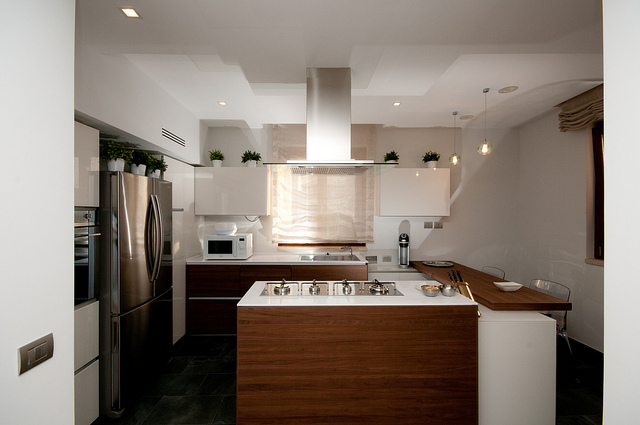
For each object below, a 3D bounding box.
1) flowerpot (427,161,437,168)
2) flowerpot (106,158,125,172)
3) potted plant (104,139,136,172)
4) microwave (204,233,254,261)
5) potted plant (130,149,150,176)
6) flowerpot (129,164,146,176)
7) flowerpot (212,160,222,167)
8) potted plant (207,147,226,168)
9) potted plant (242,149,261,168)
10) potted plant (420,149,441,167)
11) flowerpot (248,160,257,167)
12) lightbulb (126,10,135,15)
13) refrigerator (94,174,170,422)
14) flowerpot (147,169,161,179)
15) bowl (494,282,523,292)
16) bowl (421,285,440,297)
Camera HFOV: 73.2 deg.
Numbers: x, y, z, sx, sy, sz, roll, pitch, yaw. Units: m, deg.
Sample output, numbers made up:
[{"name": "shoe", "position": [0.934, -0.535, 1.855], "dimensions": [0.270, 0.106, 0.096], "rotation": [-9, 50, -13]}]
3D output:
[{"name": "flowerpot", "position": [1.521, -0.656, 5.825], "dimensions": [0.090, 0.062, 0.087], "rotation": [1, 0, -8]}, {"name": "flowerpot", "position": [-1.887, -0.444, 4.001], "dimensions": [0.132, 0.091, 0.115], "rotation": [-1, -3, 17]}, {"name": "potted plant", "position": [-1.938, -0.535, 4.089], "dimensions": [0.274, 0.278, 0.209], "rotation": [0, 6, 37]}, {"name": "microwave", "position": [-1.154, 0.430, 5.442], "dimensions": [0.480, 0.283, 0.338], "rotation": [0, -8, -4]}, {"name": "potted plant", "position": [-1.817, -0.500, 4.426], "dimensions": [0.232, 0.293, 0.263], "rotation": [1, 0, -6]}, {"name": "flowerpot", "position": [-1.842, -0.437, 4.378], "dimensions": [0.133, 0.094, 0.113], "rotation": [-1, 1, -3]}, {"name": "flowerpot", "position": [-1.362, -0.663, 5.750], "dimensions": [0.092, 0.069, 0.081], "rotation": [-2, 0, 5]}, {"name": "potted plant", "position": [-1.429, -0.736, 5.846], "dimensions": [0.287, 0.286, 0.296], "rotation": [-1, 3, 13]}, {"name": "potted plant", "position": [-0.904, -0.730, 5.816], "dimensions": [0.230, 0.194, 0.231], "rotation": [-2, -1, 21]}, {"name": "potted plant", "position": [1.564, -0.730, 5.950], "dimensions": [0.273, 0.244, 0.253], "rotation": [1, -1, -16]}, {"name": "flowerpot", "position": [-0.889, -0.653, 5.713], "dimensions": [0.119, 0.095, 0.112], "rotation": [-1, 3, -12]}, {"name": "lightbulb", "position": [-1.523, -1.618, 3.473], "dimensions": [0.063, 0.019, 0.044], "rotation": [-1, 3, -4]}, {"name": "refrigerator", "position": [-1.699, 0.730, 4.091], "dimensions": [0.361, 2.169, 0.759], "rotation": [0, 2, 16]}, {"name": "flowerpot", "position": [-1.775, -0.414, 4.620], "dimensions": [0.085, 0.104, 0.156], "rotation": [0, -1, 35]}, {"name": "bowl", "position": [1.874, 0.739, 4.298], "dimensions": [0.239, 0.079, 0.143], "rotation": [0, 3, 18]}, {"name": "bowl", "position": [0.981, 0.700, 3.853], "dimensions": [0.160, 0.077, 0.151], "rotation": [-1, 3, 0]}]
